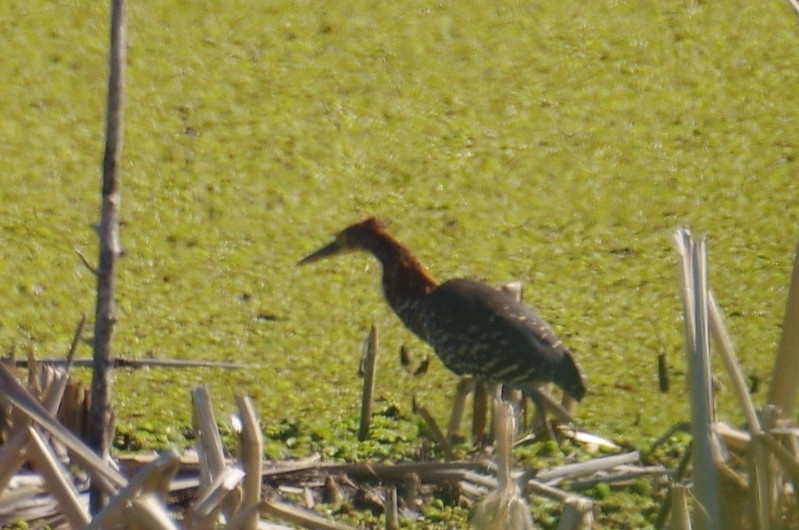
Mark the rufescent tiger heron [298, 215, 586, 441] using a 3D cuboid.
[{"bbox_3d":[0.557,0.465,17.226,2.145,1.729,0.542,0,0,36],"label":"rufescent tiger heron"}]
